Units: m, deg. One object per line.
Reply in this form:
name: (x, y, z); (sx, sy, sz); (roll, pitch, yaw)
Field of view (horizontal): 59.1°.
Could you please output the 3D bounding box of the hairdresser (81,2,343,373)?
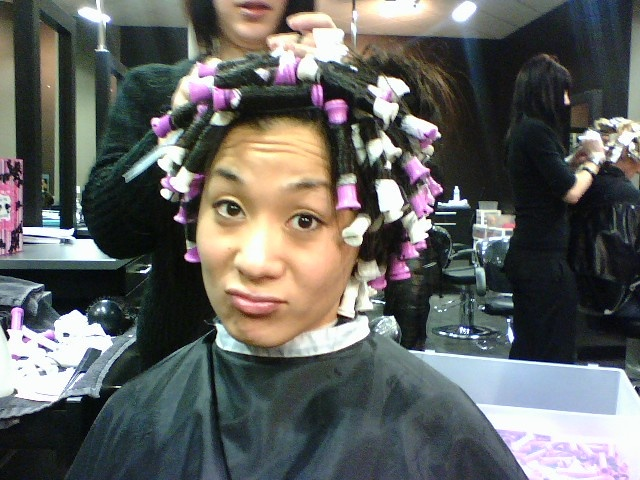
hairdresser: (-0.220, -0.109, 1.047); (0.343, 0.567, 0.371); (-1, 18, -21)
